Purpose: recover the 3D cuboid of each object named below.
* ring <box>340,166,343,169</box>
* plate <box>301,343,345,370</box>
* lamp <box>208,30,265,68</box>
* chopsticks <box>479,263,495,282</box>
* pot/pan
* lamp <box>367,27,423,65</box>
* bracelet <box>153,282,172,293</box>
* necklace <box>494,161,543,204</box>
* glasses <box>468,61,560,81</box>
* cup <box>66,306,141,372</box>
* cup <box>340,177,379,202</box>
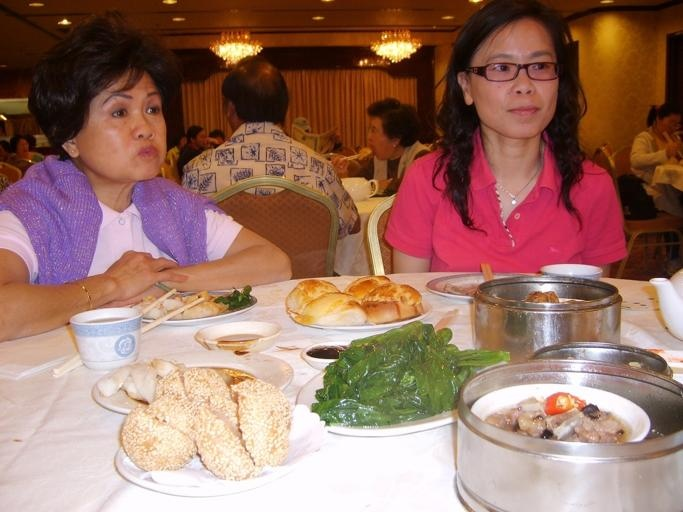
[{"bbox_3d":[-0.017,-0.927,5.476,0.033,0.033,0.008,-2,-4,-12],"label":"ring"},{"bbox_3d":[-0.037,0.194,1.085,0.077,0.023,0.077,1,6,29],"label":"plate"},{"bbox_3d":[-2.292,-4.705,11.549,1.130,1.002,1.123,-5,22,-18],"label":"lamp"},{"bbox_3d":[0.432,0.049,1.591,0.025,0.011,0.083,-25,18,17],"label":"chopsticks"},{"bbox_3d":[0.369,0.106,0.970,0.191,0.092,0.192,-1,1,13],"label":"pot/pan"},{"bbox_3d":[1.247,-4.755,11.758,0.954,0.670,0.968,6,8,-8],"label":"lamp"},{"bbox_3d":[-0.581,0.099,1.702,0.047,0.047,0.011,33,41,5],"label":"bracelet"},{"bbox_3d":[0.707,-0.293,2.102,0.163,0.161,0.040,5,8,16],"label":"necklace"},{"bbox_3d":[0.620,-0.678,1.937,0.313,0.072,0.113,2,18,12],"label":"glasses"},{"bbox_3d":[-0.518,0.177,1.155,0.133,0.102,0.129,0,8,0],"label":"cup"},{"bbox_3d":[0.127,-0.537,4.140,0.290,0.148,0.228,7,14,6],"label":"cup"}]
